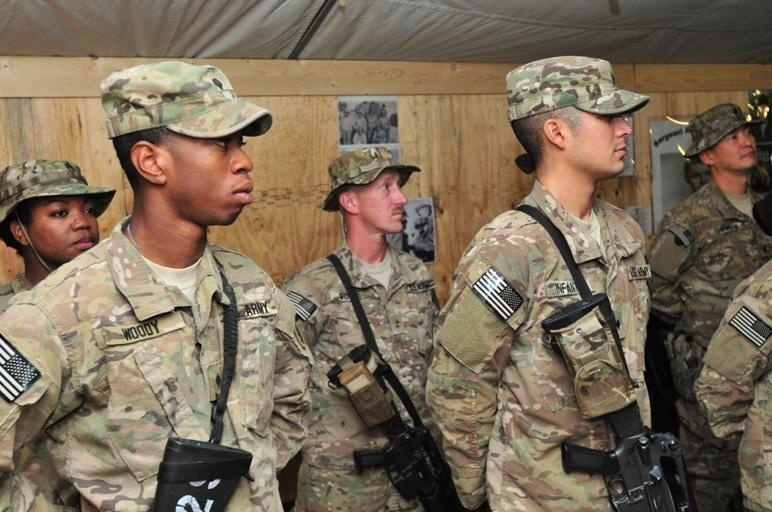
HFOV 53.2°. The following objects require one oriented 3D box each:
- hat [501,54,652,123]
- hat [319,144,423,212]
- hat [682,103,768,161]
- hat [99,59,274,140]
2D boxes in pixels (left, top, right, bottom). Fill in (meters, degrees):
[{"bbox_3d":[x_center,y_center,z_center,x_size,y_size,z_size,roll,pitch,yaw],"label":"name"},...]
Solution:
[{"bbox_3d":[0.981,-0.871,4.003,0.732,0.311,0.514,-1,9,17],"label":"hat"},{"bbox_3d":[-0.182,-0.547,5.117,0.444,0.198,0.558,-18,-8,-37],"label":"hat"},{"bbox_3d":[2.510,-0.928,5.808,0.478,0.221,0.448,-32,-3,27],"label":"hat"},{"bbox_3d":[-0.892,-0.689,3.470,0.767,0.320,0.525,-1,10,1],"label":"hat"}]
